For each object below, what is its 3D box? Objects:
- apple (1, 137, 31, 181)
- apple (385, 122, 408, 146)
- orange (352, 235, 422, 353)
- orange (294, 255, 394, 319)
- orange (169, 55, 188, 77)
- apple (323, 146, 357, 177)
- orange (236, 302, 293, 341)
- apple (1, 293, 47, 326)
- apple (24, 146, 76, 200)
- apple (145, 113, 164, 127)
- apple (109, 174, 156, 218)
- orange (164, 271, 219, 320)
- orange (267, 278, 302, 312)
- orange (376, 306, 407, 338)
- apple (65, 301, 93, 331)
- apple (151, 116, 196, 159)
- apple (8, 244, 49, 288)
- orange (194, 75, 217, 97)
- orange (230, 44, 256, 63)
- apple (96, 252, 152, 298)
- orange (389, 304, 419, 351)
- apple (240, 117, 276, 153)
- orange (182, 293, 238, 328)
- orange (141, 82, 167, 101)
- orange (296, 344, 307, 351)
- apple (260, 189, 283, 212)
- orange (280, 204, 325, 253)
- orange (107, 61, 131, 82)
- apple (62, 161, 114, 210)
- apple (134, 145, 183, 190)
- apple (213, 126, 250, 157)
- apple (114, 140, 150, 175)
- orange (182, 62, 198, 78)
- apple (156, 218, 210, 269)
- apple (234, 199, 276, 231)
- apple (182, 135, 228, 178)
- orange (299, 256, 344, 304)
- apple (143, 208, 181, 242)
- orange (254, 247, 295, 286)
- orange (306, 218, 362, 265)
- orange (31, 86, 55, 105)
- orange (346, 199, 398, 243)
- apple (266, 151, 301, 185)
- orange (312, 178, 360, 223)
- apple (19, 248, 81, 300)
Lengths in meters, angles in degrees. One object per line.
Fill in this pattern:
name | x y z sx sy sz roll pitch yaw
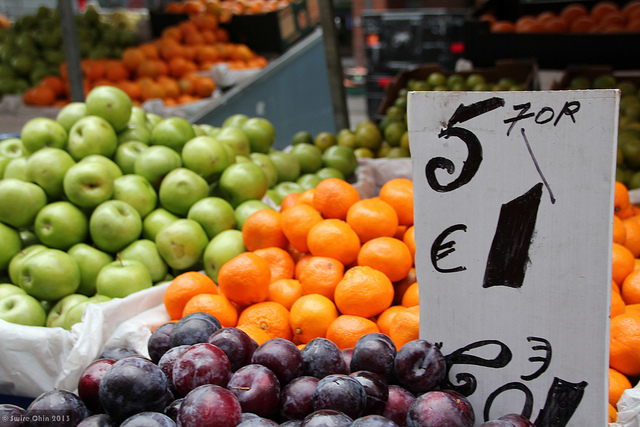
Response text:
apple | -1.541 -0.271 3.042 0.139 0.150 0.143 -29 75 -33
apple | 0.583 -0.623 4.610 0.162 0.148 0.248 7 25 4
orange | 0.326 0.363 2.563 0.143 0.385 0.393 9 47 35
orange | 0.099 0.291 2.537 0.365 0.180 0.220 14 61 29
orange | -1.195 -1.249 5.034 0.155 0.198 0.163 4 4 9
apple | 0.136 -0.348 3.920 0.187 0.192 0.190 35 -14 -14
orange | -0.221 0.387 2.457 0.170 0.179 0.175 14 25 4
apple | -1.329 0.447 2.698 0.176 0.136 0.128 -8 27 -26
apple | -1.341 -0.232 2.958 0.203 0.259 0.224 -4 8 -2
apple | -0.955 -0.550 3.419 0.097 0.059 0.099 20 11 18
apple | -0.919 -0.101 2.966 0.197 0.209 0.199 -10 35 -16
orange | -0.609 0.384 2.707 0.186 0.197 0.181 4 12 28
orange | -0.152 0.339 2.620 0.125 0.130 0.123 18 26 7
orange | 0.306 0.461 2.518 0.104 0.131 0.106 9 -9 17
apple | -1.071 0.441 2.655 0.116 0.147 0.103 -9 27 -28
apple | -0.787 -0.424 3.265 0.189 0.207 0.197 16 21 40
apple | -1.401 0.239 2.824 0.206 0.187 0.170 11 -5 -42
orange | -0.934 -1.038 4.890 0.160 0.185 0.157 11 12 35
orange | -0.644 -1.353 5.041 0.177 0.108 0.145 6 33 6
apple | -0.882 0.323 2.837 0.198 0.257 0.207 -16 -13 0
orange | 0.346 0.436 2.414 0.139 0.171 0.129 -14 1 10
apple | -0.371 -0.502 3.682 0.198 0.258 0.218 3 10 31
orange | -0.464 0.405 2.569 0.224 0.123 0.154 6 25 1
orange | -1.328 -0.984 4.777 0.150 0.172 0.162 -4 14 32
orange | -0.075 0.534 2.424 0.030 0.032 0.031 -2 1 -17
apple | -0.255 -0.086 3.371 0.114 0.150 0.120 -4 14 8
orange | -0.070 0.051 2.824 0.214 0.195 0.213 -5 12 17
orange | -1.639 -1.158 4.892 0.148 0.170 0.160 2 1 -9
apple | -1.076 -0.135 2.880 0.205 0.229 0.227 -2 5 -4
apple | -0.805 -0.248 3.143 0.208 0.225 0.210 21 4 3
apple | -0.508 -0.430 3.487 0.176 0.174 0.210 -5 40 -2
apple | -0.974 -0.306 3.116 0.159 0.170 0.167 7 38 -21
orange | -1.092 -1.234 5.078 0.134 0.137 0.133 -17 40 -43
apple | -0.662 0.133 2.954 0.227 0.244 0.221 18 -5 -40
apple | -0.347 -0.030 3.116 0.196 0.176 0.164 -6 19 -36
apple | -0.581 -0.321 3.210 0.220 0.220 0.208 45 -2 -14
orange | -0.004 0.301 2.623 0.174 0.187 0.178 12 -13 -4
apple | -0.793 0.040 3.034 0.135 0.150 0.147 31 29 -14
orange | -0.205 0.222 2.737 0.157 0.165 0.151 -11 -1 -6
orange | 0.064 0.102 2.727 0.205 0.213 0.194 28 4 -3
orange | -2.386 -1.022 5.166 0.157 0.162 0.154 -5 12 -20
orange | 0.248 0.015 2.724 0.186 0.157 0.194 -25 30 -29
apple | -0.215 -0.269 3.665 0.166 0.197 0.167 -40 5 -1
orange | 0.087 -0.075 2.886 0.180 0.208 0.236 4 -24 37
apple | -1.255 0.301 2.784 0.254 0.234 0.227 8 43 -36
